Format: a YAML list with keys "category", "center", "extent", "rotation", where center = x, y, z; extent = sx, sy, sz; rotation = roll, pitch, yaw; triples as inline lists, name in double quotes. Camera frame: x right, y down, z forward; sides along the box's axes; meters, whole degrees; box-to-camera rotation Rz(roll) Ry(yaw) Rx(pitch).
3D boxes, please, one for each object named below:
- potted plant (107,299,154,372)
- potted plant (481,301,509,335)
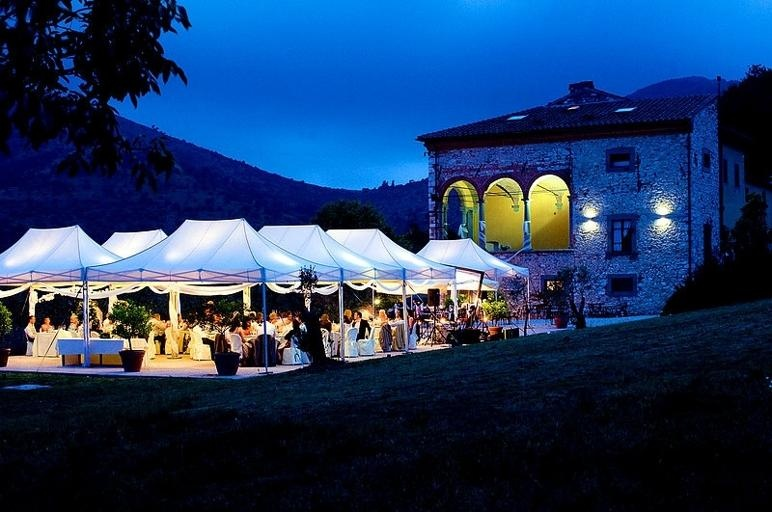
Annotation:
- category: "potted plant"
  center: [-6.258, 1.958, 20.474]
  extent: [0.947, 1.645, 1.672]
  rotation: [-4, 5, -17]
- category: "potted plant"
  center: [3.944, 2.203, 29.727]
  extent: [1.040, 1.332, 1.111]
  rotation: [-1, 1, 6]
